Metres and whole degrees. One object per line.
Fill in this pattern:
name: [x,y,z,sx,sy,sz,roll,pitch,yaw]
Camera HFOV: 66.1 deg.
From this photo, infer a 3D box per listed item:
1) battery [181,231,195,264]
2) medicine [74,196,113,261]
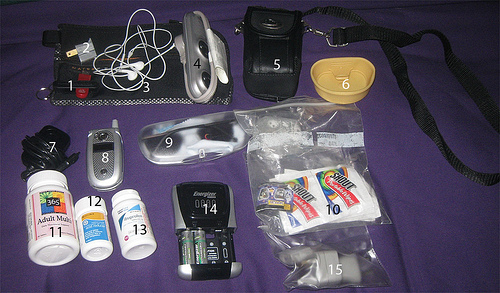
battery: [-0.248,0.412,1.523,0.044,0.037,0.150,-3,50,-12]
medicine: [-0.628,0.326,1.540,0.127,0.122,0.221,-23,57,-2]
